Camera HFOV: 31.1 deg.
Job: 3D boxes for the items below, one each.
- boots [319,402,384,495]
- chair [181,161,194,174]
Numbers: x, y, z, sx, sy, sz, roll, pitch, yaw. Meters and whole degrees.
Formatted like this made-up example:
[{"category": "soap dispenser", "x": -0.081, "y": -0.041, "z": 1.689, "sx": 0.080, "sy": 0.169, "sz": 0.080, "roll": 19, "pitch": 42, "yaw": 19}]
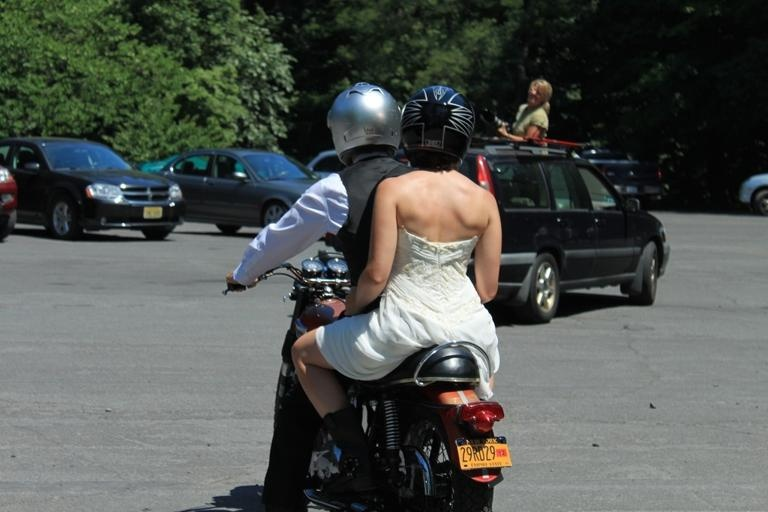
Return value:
[{"category": "boots", "x": -0.424, "y": 2.287, "z": 15.954, "sx": 0.686, "sy": 0.973, "sz": 0.754, "roll": 3, "pitch": -18, "yaw": -18}, {"category": "chair", "x": -4.594, "y": -2.063, "z": 32.644, "sx": 0.299, "sy": 0.288, "sz": 0.315, "roll": 5, "pitch": 9, "yaw": 5}]
